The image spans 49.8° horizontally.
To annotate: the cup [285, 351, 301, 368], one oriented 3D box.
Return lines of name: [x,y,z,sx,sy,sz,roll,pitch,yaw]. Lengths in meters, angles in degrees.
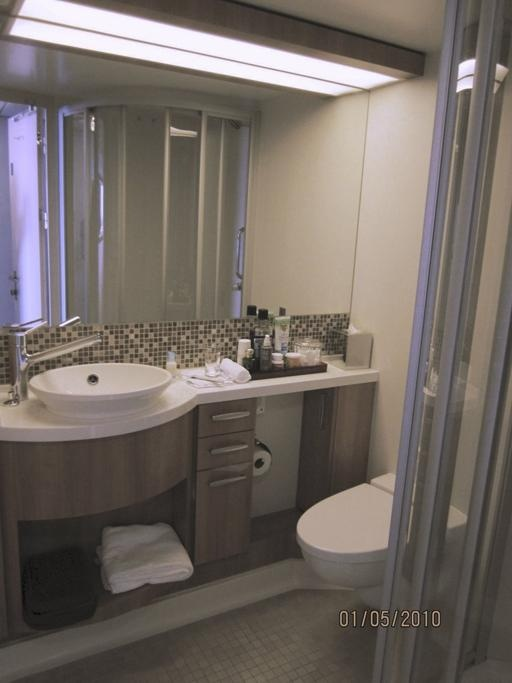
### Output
cup: [0.165,0.081,2.429,0.048,0.060,0.059,-4,22,-15]

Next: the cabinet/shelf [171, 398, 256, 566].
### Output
cabinet/shelf: [-0.146,0.559,2.185,0.282,0.695,0.111,-2,11,-26]

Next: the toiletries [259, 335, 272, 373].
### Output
toiletries: [0.040,0.045,2.359,0.052,0.138,0.108,2,11,-5]

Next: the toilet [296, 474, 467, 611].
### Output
toilet: [0.400,0.784,1.953,0.503,0.456,0.417,-8,7,-21]

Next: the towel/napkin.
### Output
towel/napkin: [-0.433,0.844,2.180,0.354,0.102,0.300,0,14,-20]

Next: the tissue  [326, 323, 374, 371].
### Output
tissue : [0.447,0.022,2.626,0.154,0.179,0.200,-2,13,-24]

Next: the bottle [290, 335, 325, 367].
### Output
bottle: [0.222,0.036,2.524,0.105,0.154,0.128,-5,18,-16]

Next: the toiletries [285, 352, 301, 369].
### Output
toiletries: [0.165,0.079,2.429,0.052,0.062,0.056,-13,27,-35]

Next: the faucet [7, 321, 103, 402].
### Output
faucet: [-0.698,0.057,1.900,0.292,0.235,0.253,-2,13,-25]

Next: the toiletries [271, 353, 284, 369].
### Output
toiletries: [0.093,0.082,2.402,0.044,0.060,0.053,5,15,14]

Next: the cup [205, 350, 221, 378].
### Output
cup: [-0.178,0.092,2.238,0.063,0.152,0.079,3,11,-6]

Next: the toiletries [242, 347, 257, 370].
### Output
toiletries: [-0.017,0.073,2.338,0.077,0.081,0.085,-4,14,-32]
